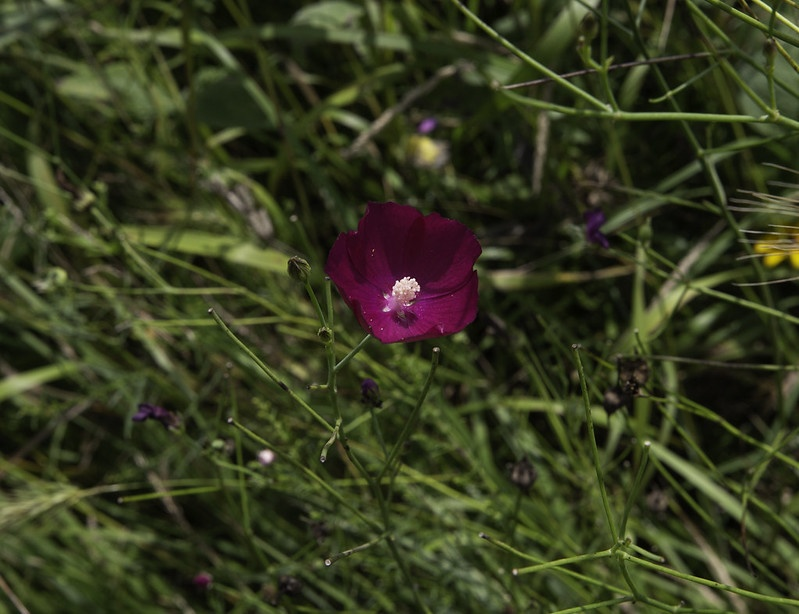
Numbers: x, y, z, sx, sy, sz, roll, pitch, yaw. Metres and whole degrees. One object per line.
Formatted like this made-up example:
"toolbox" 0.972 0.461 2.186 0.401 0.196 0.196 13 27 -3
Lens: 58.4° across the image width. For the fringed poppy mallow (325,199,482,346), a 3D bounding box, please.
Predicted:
"fringed poppy mallow" 0.007 -0.068 1.392 0.283 0.182 0.273 6 86 0
